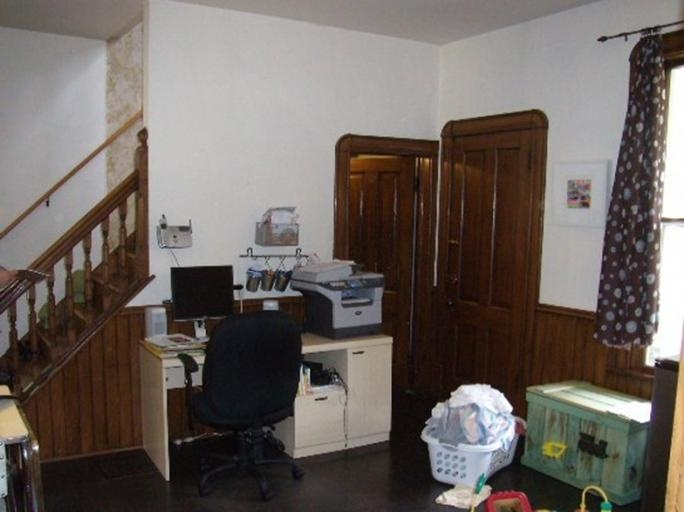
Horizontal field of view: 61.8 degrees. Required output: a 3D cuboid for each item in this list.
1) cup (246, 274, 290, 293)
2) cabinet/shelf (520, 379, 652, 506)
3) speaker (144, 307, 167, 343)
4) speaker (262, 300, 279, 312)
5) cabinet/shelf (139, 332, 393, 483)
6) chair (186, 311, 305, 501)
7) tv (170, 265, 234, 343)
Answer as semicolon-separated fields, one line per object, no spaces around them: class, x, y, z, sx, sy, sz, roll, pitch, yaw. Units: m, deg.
cup;-0.634;0.233;4.990;0.392;0.190;0.143;-1;10;-13
cabinet/shelf;1.826;1.270;4.186;0.573;0.812;1.015;1;4;-30
speaker;-1.471;0.526;4.530;0.158;0.249;0.192;-4;11;-25
speaker;-0.597;0.417;4.857;0.113;0.094;0.114;5;6;39
cabinet/shelf;-0.449;1.160;4.761;1.583;0.877;0.615;-5;5;-21
chair;-0.684;1.027;4.120;0.791;1.355;0.821;5;6;40
tv;-1.095;0.363;4.466;0.525;0.703;0.213;-2;1;-30
